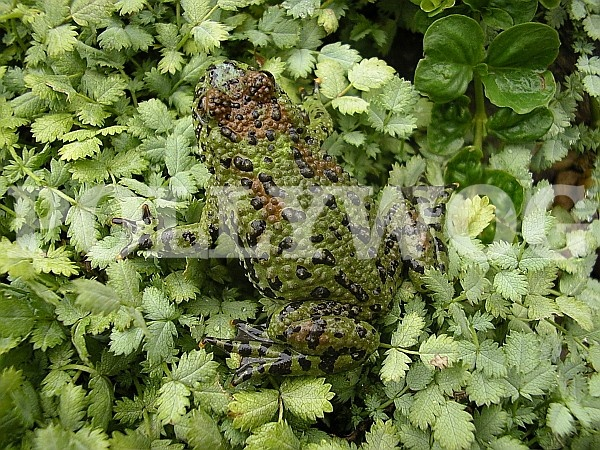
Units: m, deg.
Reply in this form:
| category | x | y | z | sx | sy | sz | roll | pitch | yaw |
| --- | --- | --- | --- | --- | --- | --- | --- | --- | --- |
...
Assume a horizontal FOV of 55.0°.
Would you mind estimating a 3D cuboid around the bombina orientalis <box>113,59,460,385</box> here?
| category | x | y | z | sx | sy | sz | roll | pitch | yaw |
| --- | --- | --- | --- | --- | --- | --- | --- | --- | --- |
| bombina orientalis | -0.019 | 0.023 | 2.748 | 1.420 | 0.351 | 1.263 | 36 | 85 | 2 |
